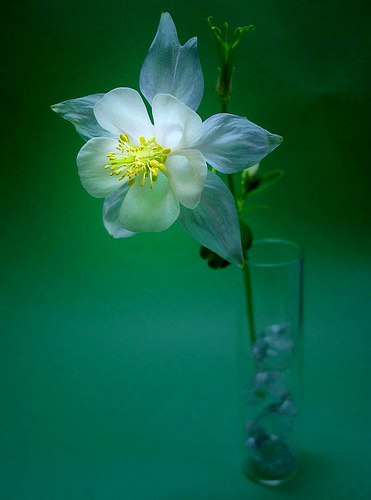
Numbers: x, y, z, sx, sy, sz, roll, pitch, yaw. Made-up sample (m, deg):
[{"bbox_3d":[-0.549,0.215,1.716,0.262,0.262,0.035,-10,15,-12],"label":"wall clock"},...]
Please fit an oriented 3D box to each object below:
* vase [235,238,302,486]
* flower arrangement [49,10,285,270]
[{"bbox_3d":[0.134,0.204,0.830,0.105,0.314,0.161,-3,-1,4],"label":"vase"},{"bbox_3d":[-0.015,-0.131,0.716,0.333,0.332,0.242,12,41,21],"label":"flower arrangement"}]
